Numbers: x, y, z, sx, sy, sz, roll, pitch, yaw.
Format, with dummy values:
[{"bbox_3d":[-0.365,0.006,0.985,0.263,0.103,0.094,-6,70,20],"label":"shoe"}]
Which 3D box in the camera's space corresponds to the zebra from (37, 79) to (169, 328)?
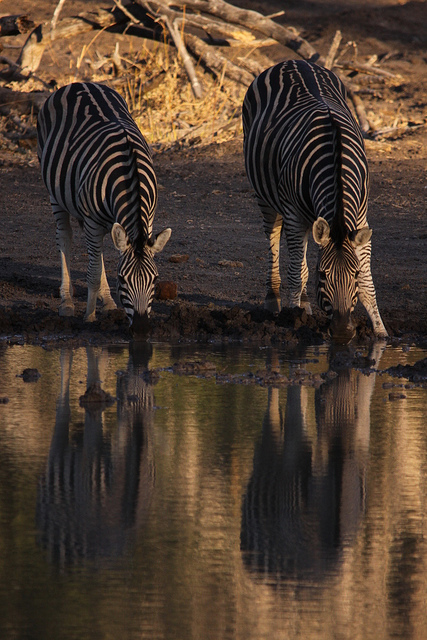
[{"bbox_3d":[-0.930,-0.941,9.794,0.855,1.996,2.855,-1,10,-10],"label":"zebra"}]
